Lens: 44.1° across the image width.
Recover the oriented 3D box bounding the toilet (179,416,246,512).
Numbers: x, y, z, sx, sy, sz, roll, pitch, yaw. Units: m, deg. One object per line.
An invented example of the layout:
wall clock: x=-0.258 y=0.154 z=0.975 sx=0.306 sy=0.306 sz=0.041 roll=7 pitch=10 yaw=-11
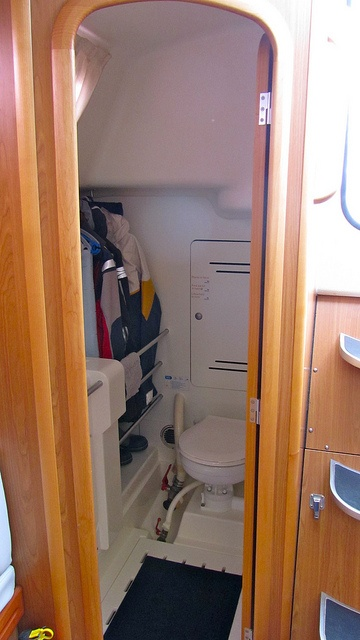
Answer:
toilet: x=0.200 y=0.759 z=2.296 sx=0.287 sy=0.389 sz=0.550 roll=3 pitch=12 yaw=13

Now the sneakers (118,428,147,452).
sneakers: x=-0.268 y=0.732 z=2.639 sx=0.180 sy=0.096 sz=0.113 roll=2 pitch=21 yaw=21

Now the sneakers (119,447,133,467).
sneakers: x=-0.298 y=0.758 z=2.479 sx=0.069 sy=0.058 sz=0.195 roll=0 pitch=8 yaw=-8
